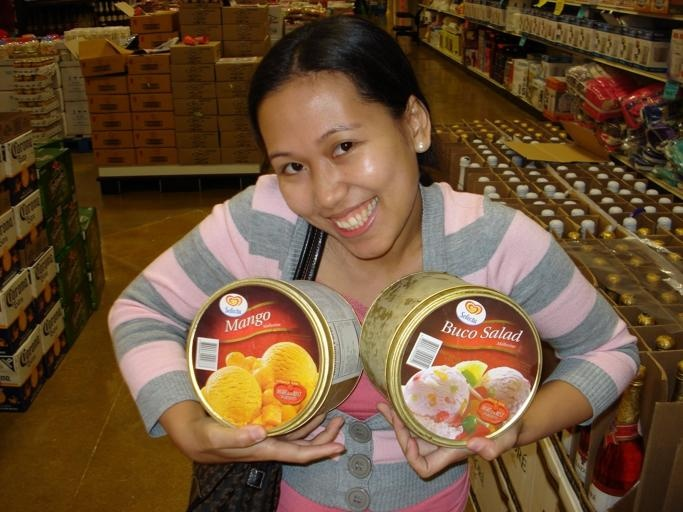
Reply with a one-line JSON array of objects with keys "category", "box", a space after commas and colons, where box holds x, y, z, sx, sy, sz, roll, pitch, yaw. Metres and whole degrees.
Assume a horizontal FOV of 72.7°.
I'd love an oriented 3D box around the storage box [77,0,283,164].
[{"category": "storage box", "box": [-2.092, -2.291, 6.546, 2.564, 1.510, 2.250, -2, 24, -1]}]
